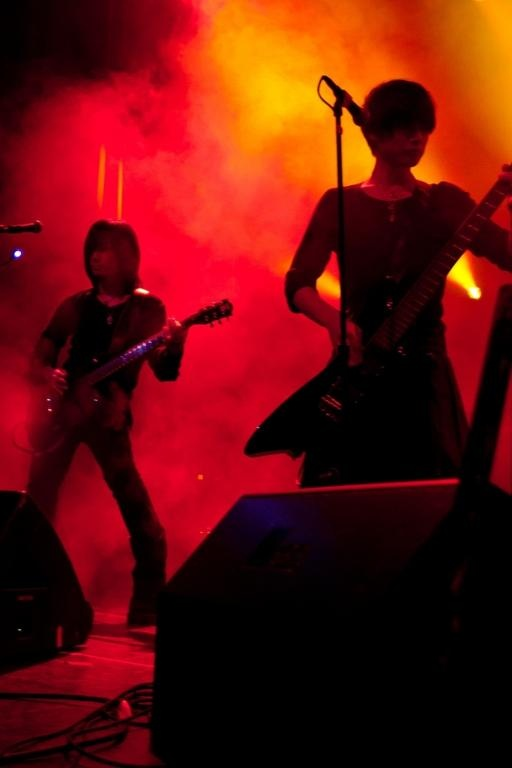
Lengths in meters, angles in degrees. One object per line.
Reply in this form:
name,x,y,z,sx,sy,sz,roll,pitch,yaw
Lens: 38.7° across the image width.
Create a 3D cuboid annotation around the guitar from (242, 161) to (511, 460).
guitar,0.306,-0.182,1.683,0.543,0.624,0.157,8,4,-28
